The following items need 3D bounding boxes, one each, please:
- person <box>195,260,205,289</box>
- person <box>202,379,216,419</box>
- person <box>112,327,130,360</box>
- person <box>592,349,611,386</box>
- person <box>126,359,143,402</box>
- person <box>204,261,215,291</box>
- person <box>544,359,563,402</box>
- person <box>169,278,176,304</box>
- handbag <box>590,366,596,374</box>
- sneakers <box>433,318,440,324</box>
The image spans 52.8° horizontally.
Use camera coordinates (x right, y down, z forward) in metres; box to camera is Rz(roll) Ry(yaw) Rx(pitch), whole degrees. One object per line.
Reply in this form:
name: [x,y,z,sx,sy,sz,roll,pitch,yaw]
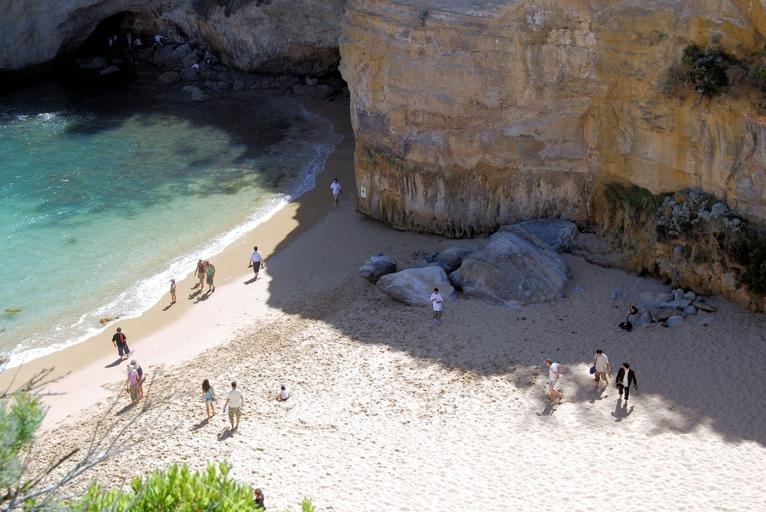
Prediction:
person: [-8.870,0.852,37.515,0.531,1.292,0.994,-7,28,-13]
person: [-6.472,5.249,28.660,0.359,1.514,0.617,-9,29,-16]
person: [-11.384,3.597,33.318,0.565,1.437,1.007,-11,30,-20]
person: [8.315,3.964,28.625,0.673,1.337,1.183,9,29,16]
person: [-9.808,4.891,30.360,0.626,1.633,0.856,-11,30,-20]
person: [-8.409,0.877,37.349,0.388,1.456,1.099,-8,29,-14]
person: [6.405,4.668,28.454,0.627,1.435,0.652,4,48,15]
person: [-10.020,1.618,36.582,0.291,1.159,0.818,-7,28,-12]
handbag: [7.841,4.194,28.286,0.286,0.212,0.394,-12,-3,9]
sneakers: [2.333,2.763,32.421,0.372,0.228,0.176,7,29,-2]
